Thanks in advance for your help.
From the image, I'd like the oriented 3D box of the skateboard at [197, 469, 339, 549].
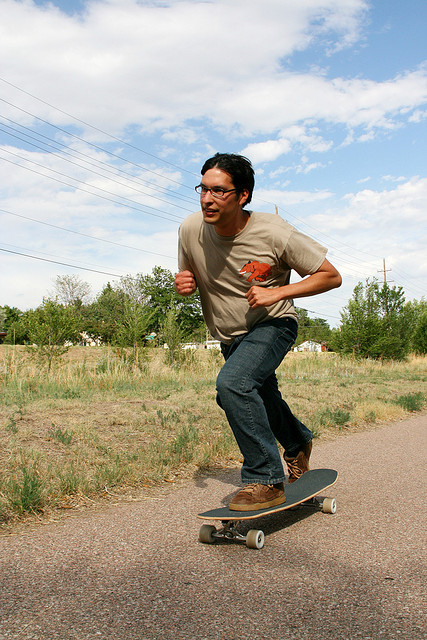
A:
[{"bbox_3d":[0.416,1.075,3.099,0.325,0.208,1.268,-2,-4,34],"label":"skateboard"}]
